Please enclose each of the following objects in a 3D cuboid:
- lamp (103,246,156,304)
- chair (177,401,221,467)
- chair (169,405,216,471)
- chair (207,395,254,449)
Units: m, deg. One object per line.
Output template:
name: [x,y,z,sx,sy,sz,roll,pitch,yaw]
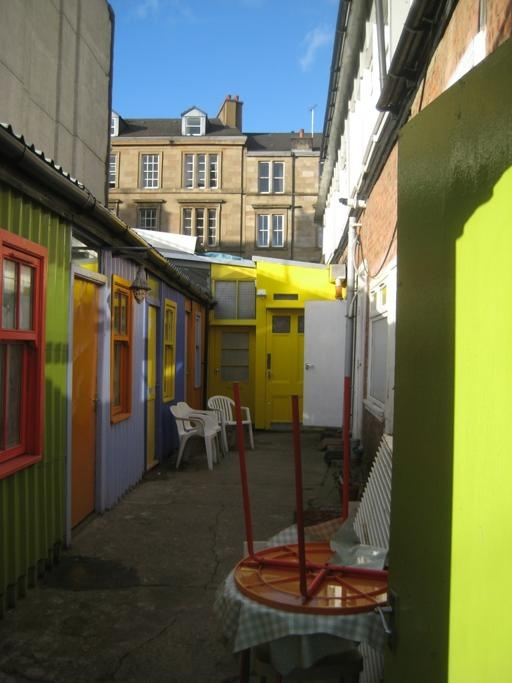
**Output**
lamp: [-1.195,-0.670,6.432,0.333,0.756,0.381,-3,-4,38]
chair: [-0.787,1.291,8.650,0.411,0.908,0.578,-1,1,3]
chair: [-0.835,1.295,8.655,0.411,0.873,0.575,-1,-2,-7]
chair: [-0.414,1.364,10.494,0.529,1.085,0.600,-1,-11,-36]
